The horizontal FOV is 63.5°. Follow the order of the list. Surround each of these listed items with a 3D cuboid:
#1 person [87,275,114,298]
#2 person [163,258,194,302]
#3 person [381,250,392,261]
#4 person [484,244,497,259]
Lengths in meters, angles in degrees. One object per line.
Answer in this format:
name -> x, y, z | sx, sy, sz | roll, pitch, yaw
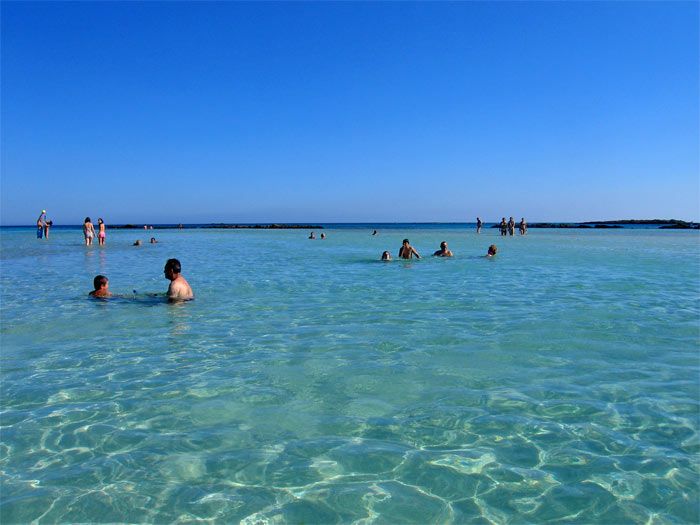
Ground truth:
person -> -6.825, 0.697, 15.447 | 0.540, 0.575, 0.802 | -4, 6, -24
person -> -4.588, 0.479, 15.166 | 0.691, 1.125, 0.869 | -3, 6, -17
person -> 1.784, -0.201, 26.963 | 0.389, 0.240, 0.917 | 10, -12, -3
person -> 7.371, -0.557, 29.296 | 0.525, 0.603, 1.999 | 0, 5, 15
